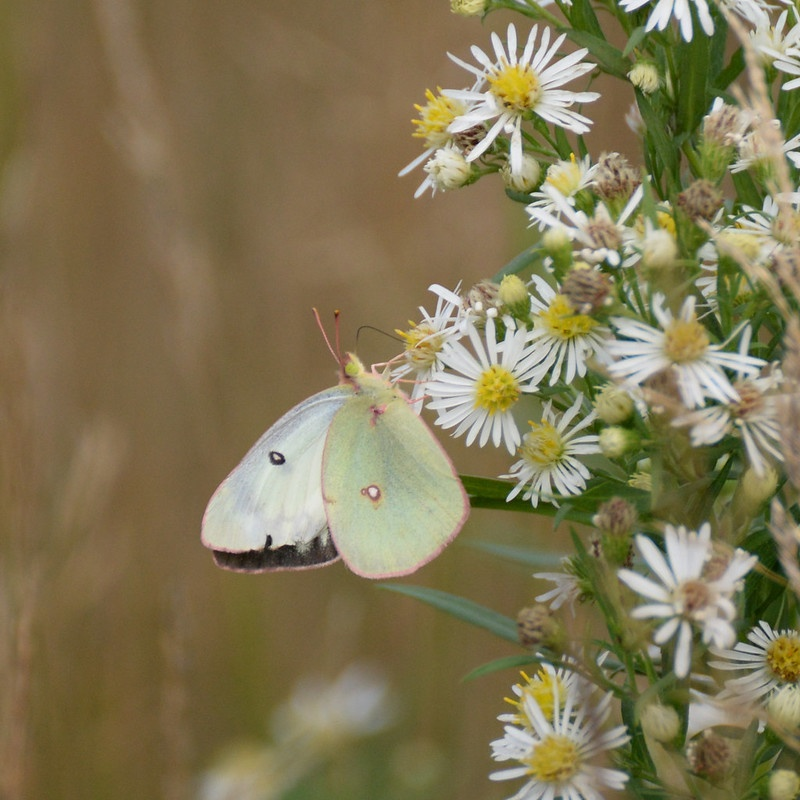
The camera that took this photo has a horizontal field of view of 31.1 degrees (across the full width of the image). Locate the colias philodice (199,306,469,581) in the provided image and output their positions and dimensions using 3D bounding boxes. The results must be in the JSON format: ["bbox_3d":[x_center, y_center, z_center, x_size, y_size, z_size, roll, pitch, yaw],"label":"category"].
[{"bbox_3d":[-0.055,0.084,1.472,0.173,0.301,0.262,-14,-4,41],"label":"colias philodice"}]
